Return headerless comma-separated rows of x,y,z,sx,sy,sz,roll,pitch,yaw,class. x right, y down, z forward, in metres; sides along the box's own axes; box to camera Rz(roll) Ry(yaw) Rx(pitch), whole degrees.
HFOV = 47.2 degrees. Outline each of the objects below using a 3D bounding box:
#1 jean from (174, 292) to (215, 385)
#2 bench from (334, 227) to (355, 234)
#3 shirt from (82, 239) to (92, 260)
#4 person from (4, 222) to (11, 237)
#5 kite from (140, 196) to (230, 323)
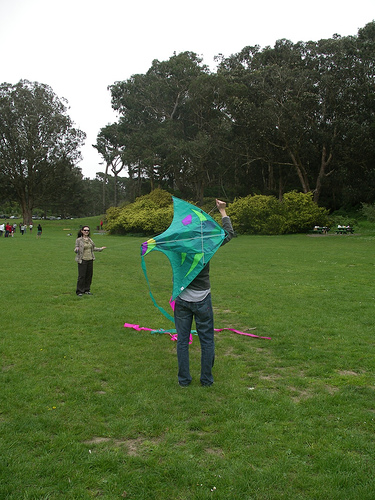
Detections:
0.093,1.135,5.618,0.444,0.363,1.607,-1,42,-1,jean
12.728,-1.550,34.529,1.341,0.531,0.787,3,6,35,bench
-2.577,0.000,11.098,0.107,0.543,0.340,2,5,26,shirt
-15.118,-1.625,36.077,0.521,1.076,2.345,-2,5,-23,person
-0.084,0.001,6.193,1.089,0.566,1.492,2,-34,2,kite
